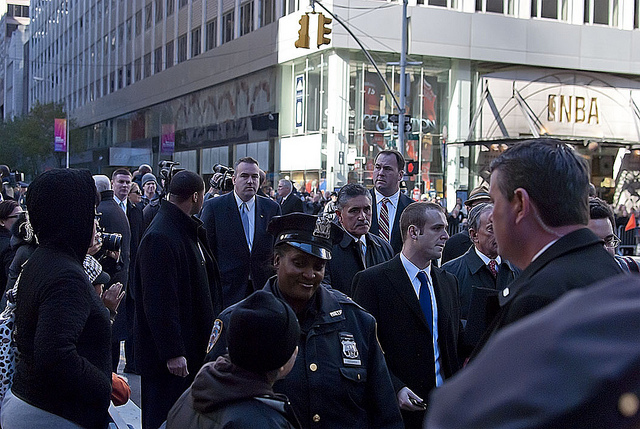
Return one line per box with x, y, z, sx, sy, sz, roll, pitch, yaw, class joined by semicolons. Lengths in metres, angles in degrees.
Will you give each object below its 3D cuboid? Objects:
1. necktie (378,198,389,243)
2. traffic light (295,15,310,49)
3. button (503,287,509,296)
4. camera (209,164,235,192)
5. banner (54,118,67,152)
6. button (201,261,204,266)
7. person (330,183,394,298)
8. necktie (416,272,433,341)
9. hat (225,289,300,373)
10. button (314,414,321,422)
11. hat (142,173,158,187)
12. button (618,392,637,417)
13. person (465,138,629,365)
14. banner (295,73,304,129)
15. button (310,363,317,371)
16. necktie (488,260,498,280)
0.764;0.069;8.629;0.150;0.645;0.044;16;-44;-15;necktie
-0.450;-4.735;18.804;0.304;0.970;1.042;1;1;-4;traffic light
1.013;0.417;3.974;0.007;0.056;0.049;6;-4;-22;button
-1.567;-0.572;12.170;0.402;0.449;0.300;9;3;33;camera
-22.086;-6.769;62.501;0.981;2.758;1.740;1;1;-20;banner
-1.149;0.482;7.201;0.008;0.030;0.029;2;0;29;button
0.373;0.303;7.419;0.794;1.257;0.569;-5;2;-22;person
0.888;0.728;6.097;0.102;0.377;0.185;1;1;-25;necktie
-0.323;0.652;4.174;0.355;0.459;0.497;-5;10;-8;hat
-0.020;1.308;4.738;0.033;0.047;0.009;-7;7;-19;button
-3.401;-0.712;14.623;0.224;0.267;0.316;0;-13;-23;hat
1.034;0.629;2.446;0.076;0.075;0.027;1;1;-27;button
1.282;0.229;4.013;0.794;1.286;1.441;-2;-2;40;person
-1.071;-5.847;38.207;0.279;2.717;1.151;1;1;-19;banner
-0.044;0.990;4.787;0.036;0.042;0.010;3;-5;-9;button
1.703;0.536;7.199;0.042;0.158;0.106;-13;-8;16;necktie
